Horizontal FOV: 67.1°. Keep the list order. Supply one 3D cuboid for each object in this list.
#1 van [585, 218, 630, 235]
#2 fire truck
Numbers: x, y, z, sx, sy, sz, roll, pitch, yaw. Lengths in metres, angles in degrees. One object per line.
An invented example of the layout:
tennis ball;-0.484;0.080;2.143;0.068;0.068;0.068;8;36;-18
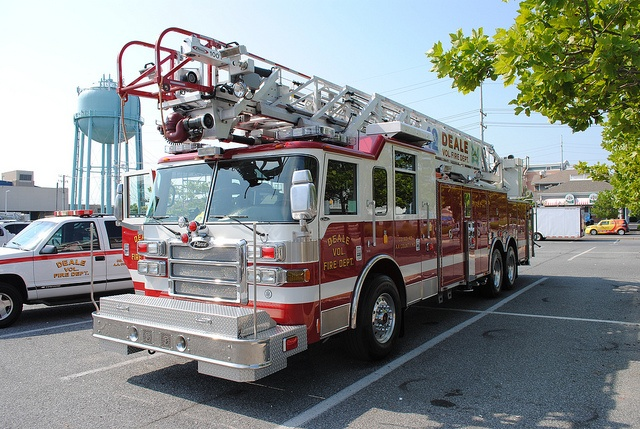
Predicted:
van;26.969;1.189;45.083;3.353;1.363;1.732;1;-1;18
fire truck;1.205;-0.293;11.599;4.105;5.408;11.810;-3;-1;38
